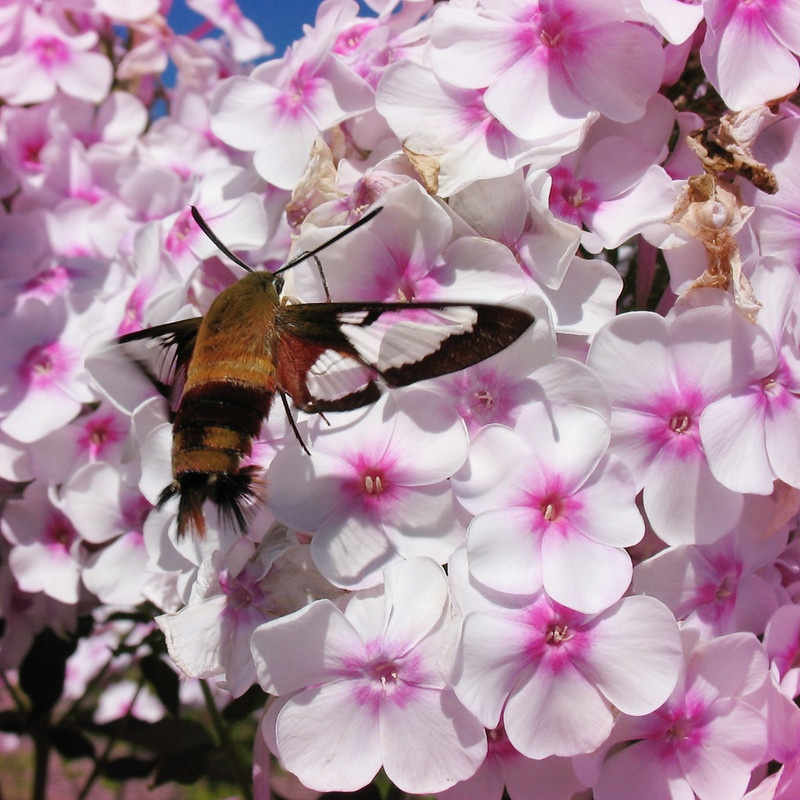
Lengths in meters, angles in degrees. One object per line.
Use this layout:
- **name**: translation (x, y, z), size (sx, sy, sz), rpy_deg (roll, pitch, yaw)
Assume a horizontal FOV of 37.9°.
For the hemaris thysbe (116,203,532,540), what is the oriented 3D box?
- **hemaris thysbe**: translation (-0.125, -0.053, 0.887), size (0.338, 0.293, 0.175), rpy_deg (-4, 86, -40)
